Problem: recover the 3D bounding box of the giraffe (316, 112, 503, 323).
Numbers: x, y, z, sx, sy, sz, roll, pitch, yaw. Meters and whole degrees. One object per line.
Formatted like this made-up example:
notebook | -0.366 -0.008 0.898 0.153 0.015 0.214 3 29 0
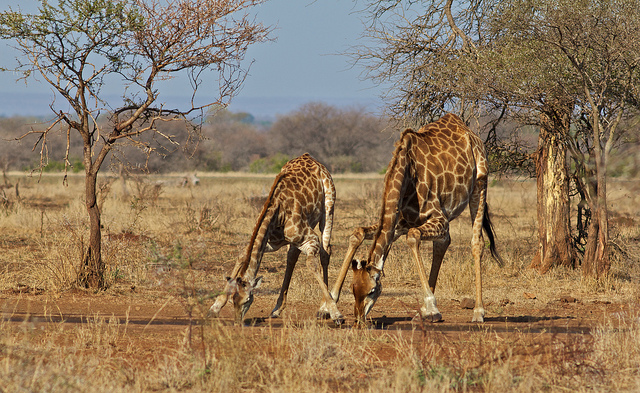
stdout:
giraffe | 2.795 0.451 24.852 3.990 5.689 1.500 3 -2 -24
